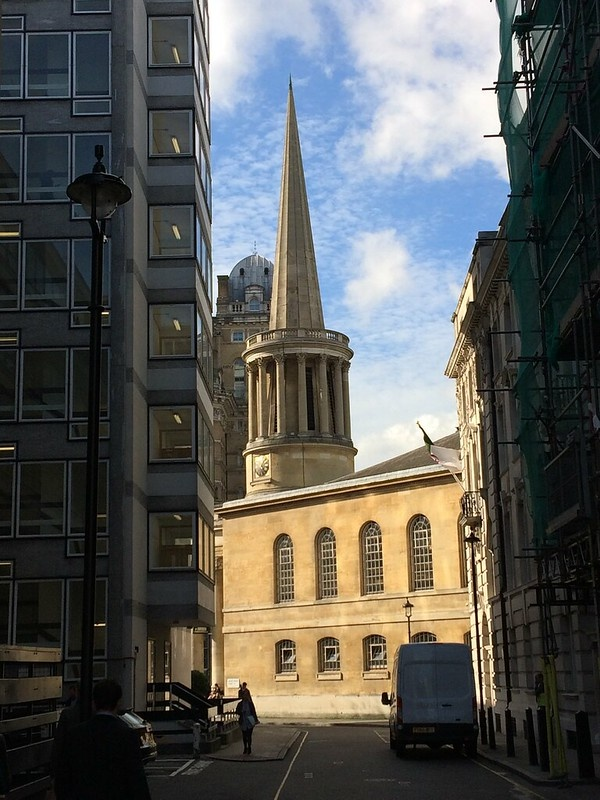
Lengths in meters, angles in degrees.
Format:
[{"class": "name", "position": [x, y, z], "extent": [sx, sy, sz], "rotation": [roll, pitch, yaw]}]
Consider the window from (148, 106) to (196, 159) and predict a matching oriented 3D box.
[{"class": "window", "position": [-4.290, -8.890, 32.647], "extent": [1.282, 1.710, 0.141], "rotation": [-8, -17, -1]}]

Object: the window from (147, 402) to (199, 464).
[{"class": "window", "position": [-3.929, 1.334, 30.804], "extent": [1.200, 2.292, 1.935], "rotation": [0, 16, 2]}]

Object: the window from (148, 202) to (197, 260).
[{"class": "window", "position": [-4.184, -5.484, 31.926], "extent": [1.477, 2.167, 0.126], "rotation": [-1, -15, 1]}]

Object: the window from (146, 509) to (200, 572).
[{"class": "window", "position": [-4.070, 4.428, 30.126], "extent": [1.555, 1.887, 1.208], "rotation": [4, -16, -26]}]

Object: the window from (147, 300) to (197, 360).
[{"class": "window", "position": [-4.101, -2.222, 31.300], "extent": [1.476, 0.098, 2.093], "rotation": [-3, -53, -12]}]

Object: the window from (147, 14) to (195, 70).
[{"class": "window", "position": [-4.390, -12.105, 33.244], "extent": [1.487, 2.034, 0.138], "rotation": [-4, -15, 5]}]

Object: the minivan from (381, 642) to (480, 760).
[{"class": "minivan", "position": [2.985, 6.932, 22.962], "extent": [1.711, 2.551, 4.351], "rotation": [0, -17, 0]}]
